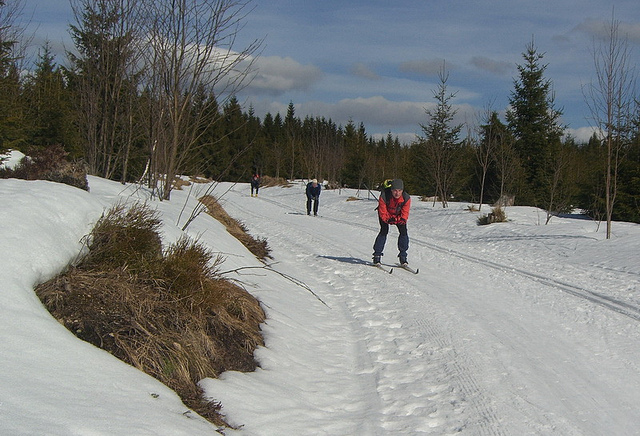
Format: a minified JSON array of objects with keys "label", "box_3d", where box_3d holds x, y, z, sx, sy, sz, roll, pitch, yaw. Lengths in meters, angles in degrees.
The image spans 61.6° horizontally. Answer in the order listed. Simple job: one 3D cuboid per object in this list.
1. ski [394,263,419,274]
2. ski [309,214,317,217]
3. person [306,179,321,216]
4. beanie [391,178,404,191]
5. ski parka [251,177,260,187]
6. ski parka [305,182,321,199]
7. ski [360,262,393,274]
[{"label":"ski","box_3d":[1.957,1.128,11.690,0.070,0.106,0.694,3,3,-14]},{"label":"ski","box_3d":[-0.312,-0.087,21.240,0.237,0.047,0.496,-2,11,-9]},{"label":"person","box_3d":[-0.302,-0.855,21.470,0.497,1.527,1.134,-1,11,-2]},{"label":"beanie","box_3d":[1.680,-0.745,11.723,0.248,0.252,0.521,1,11,8]},{"label":"ski parka","box_3d":[-4.114,-2.271,34.013,0.444,0.628,1.084,-3,11,-13]},{"label":"ski parka","box_3d":[-0.274,-1.091,21.299,0.444,0.627,0.629,-6,-6,-3]},{"label":"ski","box_3d":[1.257,1.074,11.845,0.237,0.081,1.173,-7,13,-31]}]
